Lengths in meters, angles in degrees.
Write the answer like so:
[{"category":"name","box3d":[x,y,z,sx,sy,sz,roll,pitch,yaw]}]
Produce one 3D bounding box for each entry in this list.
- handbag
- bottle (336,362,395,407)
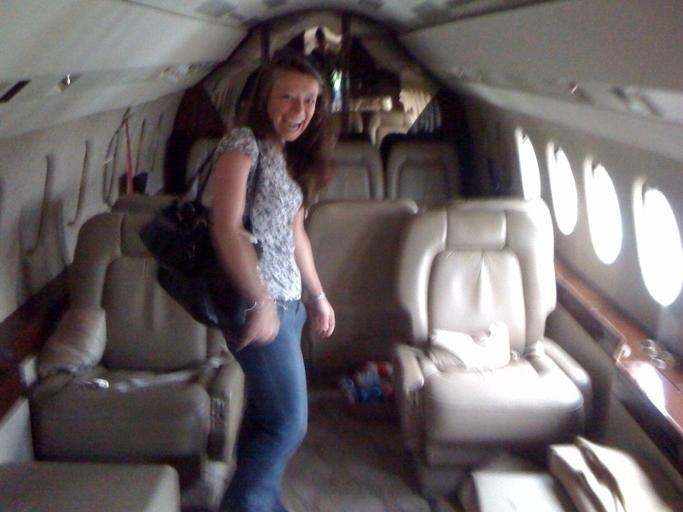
[{"category":"handbag","box3d":[-0.454,-0.050,1.707,0.316,0.544,0.211,0,8,-15]},{"category":"bottle","box3d":[0.125,0.662,2.865,0.223,0.185,0.086,-7,-28,25]}]
